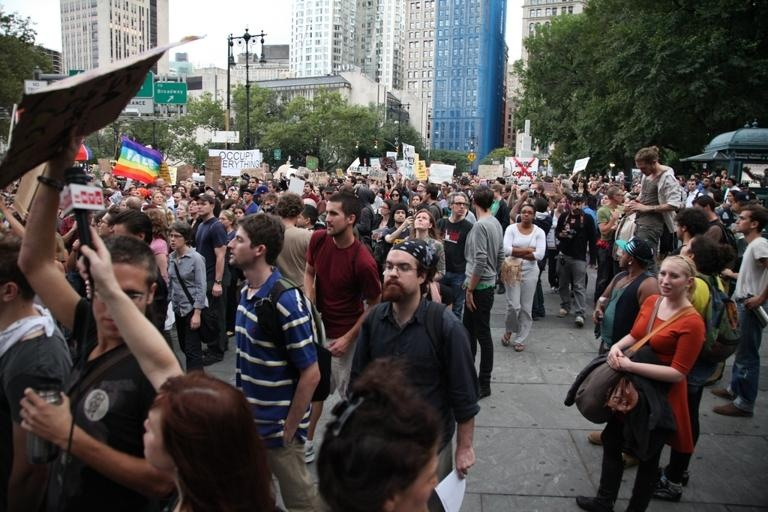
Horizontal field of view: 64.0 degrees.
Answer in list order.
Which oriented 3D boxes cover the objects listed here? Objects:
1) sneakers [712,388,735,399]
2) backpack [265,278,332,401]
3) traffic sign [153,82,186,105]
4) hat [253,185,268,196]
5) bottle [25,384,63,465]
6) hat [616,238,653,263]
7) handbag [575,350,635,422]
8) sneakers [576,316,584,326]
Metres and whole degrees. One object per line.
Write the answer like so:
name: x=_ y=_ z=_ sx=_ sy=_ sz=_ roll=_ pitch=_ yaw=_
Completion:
sneakers: x=4.354 y=1.765 z=7.858 sx=0.082 sy=0.102 sz=0.237 roll=-48 pitch=31 yaw=-23
backpack: x=-0.646 y=0.764 z=5.009 sx=0.403 sy=1.215 sz=0.672 roll=4 pitch=12 yaw=21
traffic sign: x=-12.155 y=-9.213 z=34.681 sx=1.223 sy=0.894 sz=0.166 roll=1 pitch=10 yaw=6
hat: x=-3.325 y=-1.773 z=16.696 sx=0.260 sy=0.194 sz=0.370 roll=7 pitch=7 yaw=26
bottle: x=-2.048 y=1.013 z=3.689 sx=0.281 sy=0.485 sz=0.114 roll=4 pitch=12 yaw=18
hat: x=2.619 y=-0.069 z=6.428 sx=0.240 sy=0.188 sz=0.373 roll=-2 pitch=27 yaw=-35
handbag: x=1.910 y=1.205 z=5.450 sx=0.338 sy=0.485 sz=0.438 roll=-4 pitch=12 yaw=-16
sneakers: x=3.451 y=1.163 z=10.795 sx=0.091 sy=0.099 sz=0.218 roll=-7 pitch=-22 yaw=13
